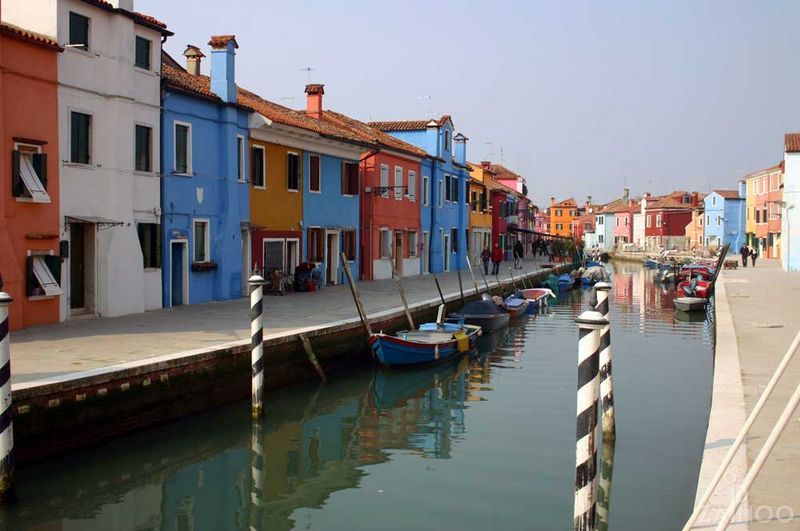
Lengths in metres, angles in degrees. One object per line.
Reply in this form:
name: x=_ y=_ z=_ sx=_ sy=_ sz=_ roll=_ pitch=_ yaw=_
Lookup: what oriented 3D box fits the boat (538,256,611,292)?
boat: x=11.440 y=0.541 z=52.153 sx=2.038 sy=1.822 sz=6.399 roll=-1 pitch=2 yaw=30
